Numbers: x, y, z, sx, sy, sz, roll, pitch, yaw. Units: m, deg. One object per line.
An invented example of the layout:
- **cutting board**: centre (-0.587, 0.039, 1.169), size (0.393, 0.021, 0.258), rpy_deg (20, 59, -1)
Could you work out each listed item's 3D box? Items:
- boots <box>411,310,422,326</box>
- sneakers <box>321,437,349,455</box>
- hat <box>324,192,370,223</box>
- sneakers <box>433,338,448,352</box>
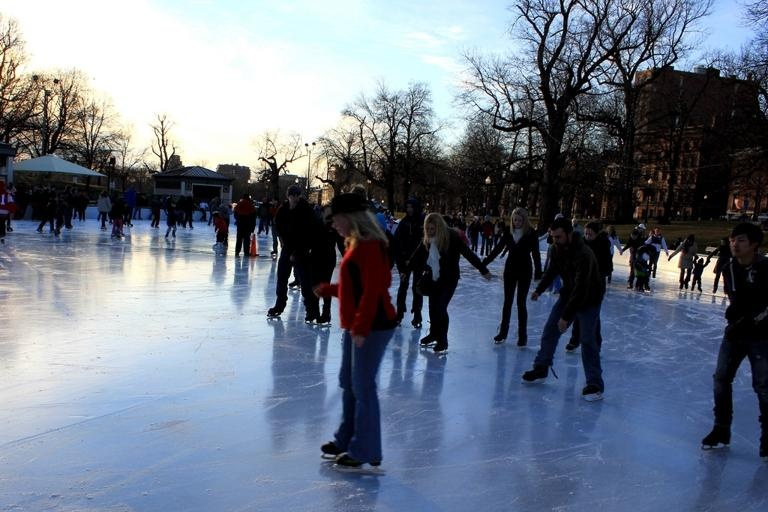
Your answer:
- **boots**: centre (0.534, 1.067, 9.846), size (0.126, 0.226, 0.239), rpy_deg (-2, 26, -11)
- **sneakers**: centre (-0.479, 1.798, 5.431), size (0.264, 0.161, 0.093), rpy_deg (6, 13, 11)
- **hat**: centre (-0.320, -0.435, 5.219), size (0.351, 0.234, 0.161), rpy_deg (3, 13, -2)
- **sneakers**: centre (0.805, 1.293, 8.374), size (0.144, 0.218, 0.226), rpy_deg (2, -2, 5)
